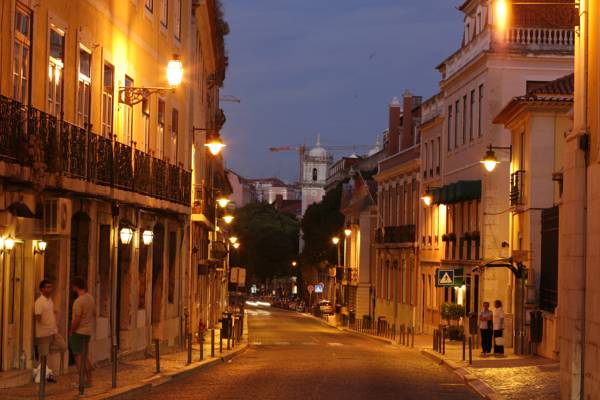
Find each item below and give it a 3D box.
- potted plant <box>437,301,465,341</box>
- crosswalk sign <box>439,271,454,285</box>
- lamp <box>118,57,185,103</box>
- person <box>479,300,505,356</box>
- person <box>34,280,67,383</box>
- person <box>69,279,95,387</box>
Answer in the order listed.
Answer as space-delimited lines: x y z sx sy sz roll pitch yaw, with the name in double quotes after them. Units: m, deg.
7.154 5.732 46.430 1.423 2.609 1.052 0 -7 0 "potted plant"
5.783 3.073 39.187 0.467 0.467 0.069 -2 4 -23 "crosswalk sign"
-5.206 -4.162 33.727 2.082 2.017 0.595 0 -9 6 "lamp"
7.163 4.851 36.968 0.837 2.200 0.676 0 0 1 "person"
-6.578 3.216 25.597 1.134 2.894 1.028 1 -2 -16 "person"
-5.744 3.492 26.119 0.732 3.037 0.627 2 0 -42 "person"
